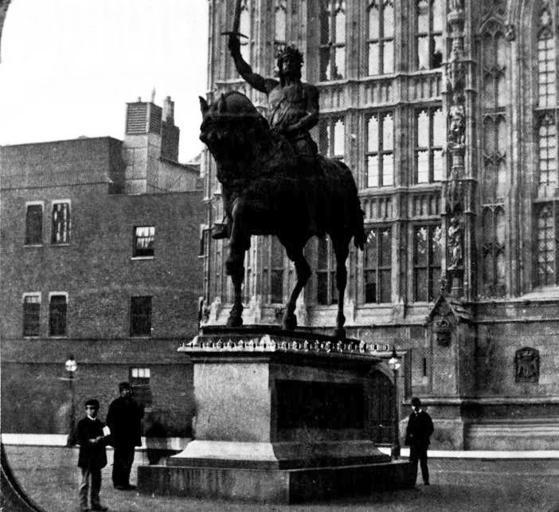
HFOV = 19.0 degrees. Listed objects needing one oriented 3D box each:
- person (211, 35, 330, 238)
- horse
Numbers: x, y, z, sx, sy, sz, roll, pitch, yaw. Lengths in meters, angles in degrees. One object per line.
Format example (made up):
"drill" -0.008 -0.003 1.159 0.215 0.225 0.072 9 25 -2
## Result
"person" 0.020 -1.366 18.985 0.929 2.611 0.763 -6 -21 7
"horse" 0.077 -0.430 18.515 2.317 2.567 0.753 8 -5 -33
